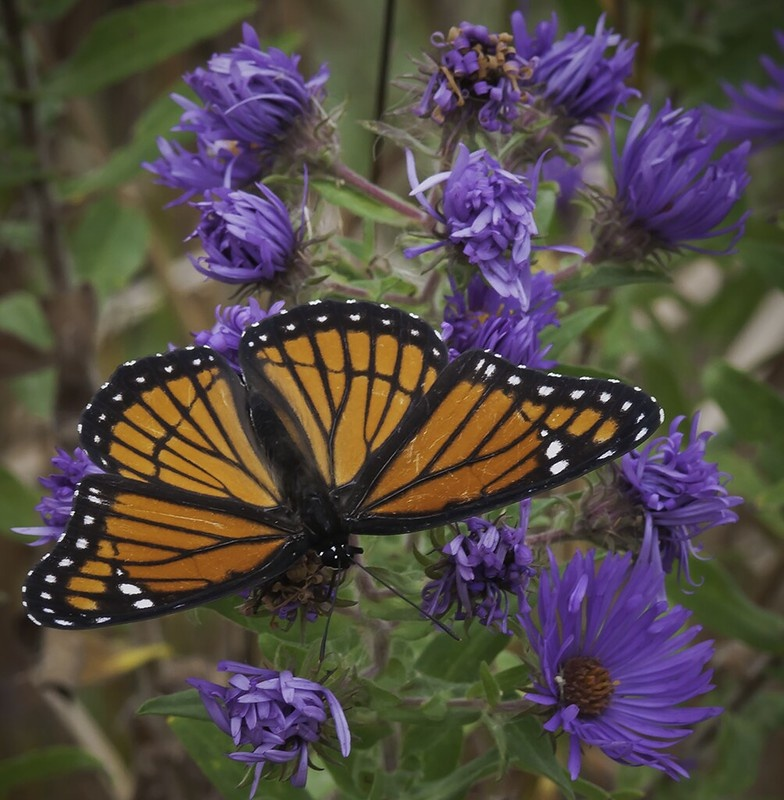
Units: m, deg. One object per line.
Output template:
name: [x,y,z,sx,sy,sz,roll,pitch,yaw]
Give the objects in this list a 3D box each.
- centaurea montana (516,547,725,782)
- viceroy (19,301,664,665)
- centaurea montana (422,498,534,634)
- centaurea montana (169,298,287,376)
centaurea montana: [0.241,0.286,1.184,0.195,0.117,0.233,-4,73,-3]
viceroy: [-0.099,0.039,1.212,0.658,0.229,0.314,-20,75,-8]
centaurea montana: [0.093,0.190,1.179,0.158,0.051,0.127,-5,53,8]
centaurea montana: [-0.186,-0.081,1.332,0.117,0.093,0.036,-16,30,-2]
